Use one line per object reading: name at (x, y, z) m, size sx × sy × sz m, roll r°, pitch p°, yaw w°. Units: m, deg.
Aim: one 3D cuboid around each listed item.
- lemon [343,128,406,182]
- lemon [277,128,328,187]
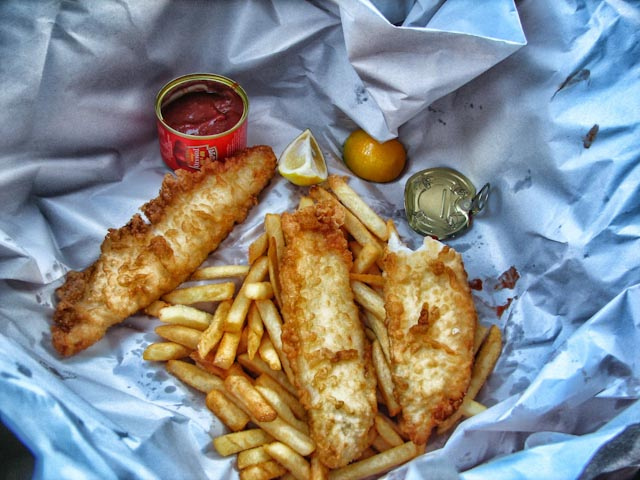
lemon at (0.327, -0.522, 3.451) m, size 0.384 × 0.212 × 0.226 m, roll 20°, pitch 54°, yaw 7°
lemon at (-0.103, -0.489, 3.379) m, size 0.312 × 0.251 × 0.381 m, roll 2°, pitch 54°, yaw -6°
